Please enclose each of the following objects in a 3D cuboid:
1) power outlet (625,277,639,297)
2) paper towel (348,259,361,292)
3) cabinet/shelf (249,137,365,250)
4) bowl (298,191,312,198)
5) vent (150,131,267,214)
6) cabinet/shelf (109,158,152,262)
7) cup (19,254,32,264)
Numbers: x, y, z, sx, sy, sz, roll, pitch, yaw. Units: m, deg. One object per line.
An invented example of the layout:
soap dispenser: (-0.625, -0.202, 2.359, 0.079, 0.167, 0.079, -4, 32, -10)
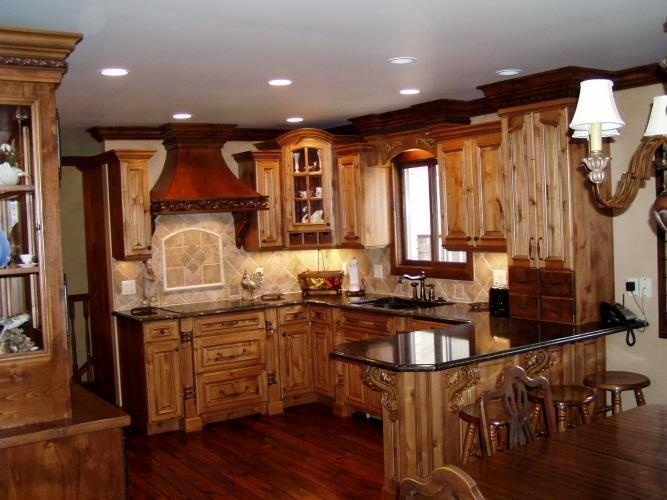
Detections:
power outlet: (2.336, 0.289, 4.251, 0.037, 0.142, 0.114, -8, 6, -38)
paper towel: (0.245, 0.283, 6.389, 0.145, 0.370, 0.287, -4, 4, 3)
cabinet/shelf: (-0.283, -0.650, 5.995, 1.559, 1.211, 0.751, -1, 1, -20)
bowl: (-0.334, -0.622, 6.028, 0.091, 0.034, 0.088, -1, -1, 0)
vent: (-1.368, -0.822, 5.678, 1.163, 0.666, 1.095, -1, 2, -29)
cabinet/shelf: (-2.090, -0.444, 5.468, 0.571, 1.082, 0.268, -2, 5, 24)
cup: (-1.450, 0.041, 2.543, 0.053, 0.036, 0.048, 0, 0, -27)
